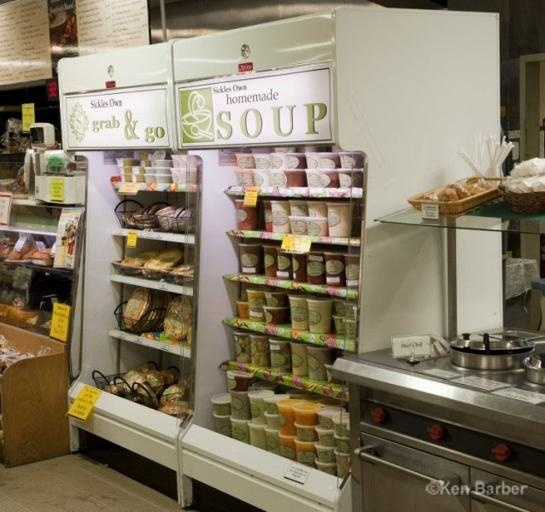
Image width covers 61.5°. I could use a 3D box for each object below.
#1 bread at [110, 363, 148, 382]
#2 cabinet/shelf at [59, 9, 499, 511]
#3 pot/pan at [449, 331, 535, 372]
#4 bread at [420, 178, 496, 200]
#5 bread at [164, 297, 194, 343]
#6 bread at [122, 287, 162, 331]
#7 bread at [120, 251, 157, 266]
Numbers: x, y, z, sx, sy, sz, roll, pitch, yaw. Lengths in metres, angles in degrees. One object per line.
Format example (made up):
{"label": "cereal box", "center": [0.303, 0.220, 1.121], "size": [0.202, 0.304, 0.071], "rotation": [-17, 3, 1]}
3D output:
{"label": "bread", "center": [-0.966, 0.832, 3.267], "size": [0.192, 0.038, 0.138], "rotation": [-18, 22, -42]}
{"label": "cabinet/shelf", "center": [-0.179, 0.067, 2.682], "size": [2.590, 2.622, 1.001], "rotation": [3, 5, 41]}
{"label": "pot/pan", "center": [0.773, 0.324, 1.576], "size": [0.203, 0.065, 0.158], "rotation": [-3, 1, -37]}
{"label": "bread", "center": [0.685, -0.243, 1.688], "size": [0.194, 0.018, 0.073], "rotation": [-25, 27, -35]}
{"label": "bread", "center": [-0.593, 0.435, 2.945], "size": [0.114, 0.276, 0.330], "rotation": [11, 40, -31]}
{"label": "bread", "center": [-0.920, 0.358, 3.227], "size": [0.233, 0.298, 0.265], "rotation": [7, -33, -36]}
{"label": "bread", "center": [-0.933, 0.019, 3.263], "size": [0.116, 0.039, 0.203], "rotation": [0, 24, 33]}
